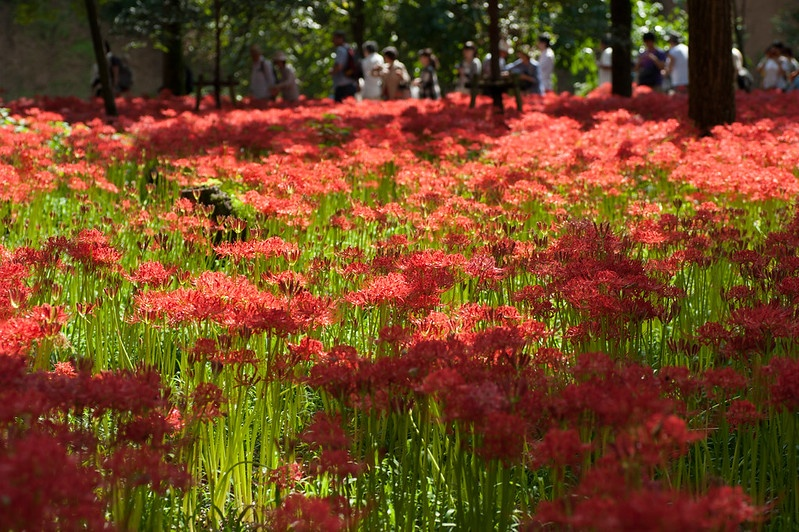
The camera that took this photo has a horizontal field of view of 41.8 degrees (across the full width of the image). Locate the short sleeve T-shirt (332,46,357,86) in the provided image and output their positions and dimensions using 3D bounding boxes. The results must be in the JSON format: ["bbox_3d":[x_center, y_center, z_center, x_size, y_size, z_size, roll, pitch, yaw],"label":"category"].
[{"bbox_3d":[-1.145,-4.185,21.951,0.507,0.943,0.844,-5,32,-7],"label":"short sleeve T-shirt"}]

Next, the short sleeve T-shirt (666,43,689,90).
[{"bbox_3d":[5.565,-4.031,21.002,0.341,0.956,1.240,0,4,13],"label":"short sleeve T-shirt"}]
